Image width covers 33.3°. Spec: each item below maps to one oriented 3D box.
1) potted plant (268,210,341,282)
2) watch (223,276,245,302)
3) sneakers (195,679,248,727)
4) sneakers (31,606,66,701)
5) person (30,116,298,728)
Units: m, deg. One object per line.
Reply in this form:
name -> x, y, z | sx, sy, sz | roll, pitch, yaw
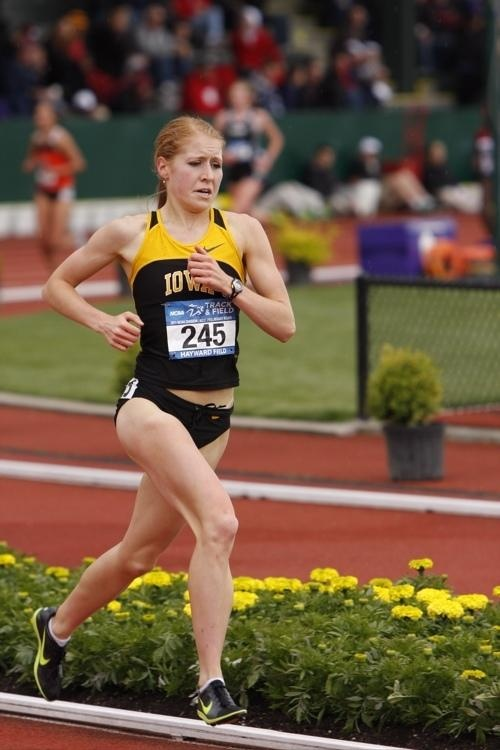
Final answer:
potted plant -> 1.082, -2.002, 14.074 | 0.753, 0.925, 0.857 | 19, 9, -30
watch -> -0.037, -0.218, 2.126 | 0.059, 0.057, 0.038 | -38, -54, 23
sneakers -> -0.077, 0.791, 2.040 | 0.079, 0.086, 0.200 | -2, -12, -28
sneakers -> -0.600, 0.835, 2.547 | 0.127, 0.267, 0.096 | -13, -11, 28
person -> -0.177, 0.117, 2.313 | 0.784, 1.669, 0.440 | 4, 5, 42
